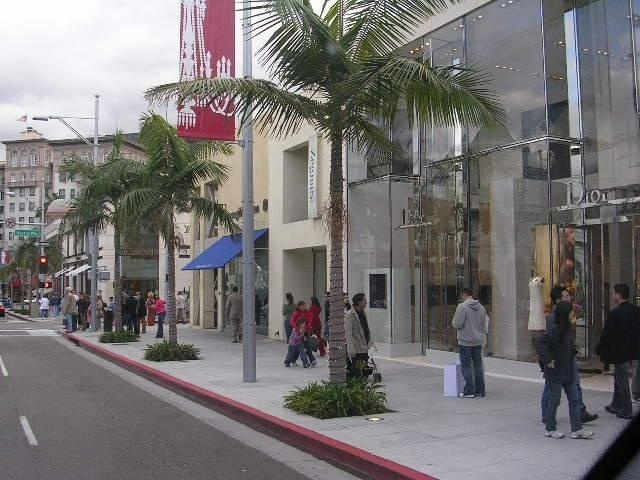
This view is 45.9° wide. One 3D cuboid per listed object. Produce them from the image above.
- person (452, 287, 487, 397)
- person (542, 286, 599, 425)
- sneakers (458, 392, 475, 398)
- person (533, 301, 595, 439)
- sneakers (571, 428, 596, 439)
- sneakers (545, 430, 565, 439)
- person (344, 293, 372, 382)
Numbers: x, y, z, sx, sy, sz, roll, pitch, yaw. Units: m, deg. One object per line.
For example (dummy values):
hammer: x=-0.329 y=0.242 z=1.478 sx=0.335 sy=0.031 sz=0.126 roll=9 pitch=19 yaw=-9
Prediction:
person: x=3.265 y=2.211 z=16.298 sx=0.568 sy=2.310 sz=0.857 roll=-6 pitch=-6 yaw=40
person: x=4.267 y=2.331 z=13.644 sx=0.955 sy=2.325 sz=0.625 roll=-4 pitch=11 yaw=15
sneakers: x=3.122 y=3.291 z=15.947 sx=0.340 sy=0.101 sz=0.250 roll=-3 pitch=-5 yaw=11
person: x=4.219 y=2.229 z=12.983 sx=0.793 sy=2.328 sz=0.832 roll=-4 pitch=-5 yaw=25
sneakers: x=4.460 y=3.280 z=12.757 sx=0.353 sy=0.170 sz=0.159 roll=-1 pitch=-1 yaw=4
sneakers: x=3.989 y=3.307 z=12.819 sx=0.287 sy=0.228 sz=0.111 roll=-4 pitch=-3 yaw=19
person: x=0.831 y=2.144 z=16.586 sx=0.496 sy=1.904 sz=1.089 roll=-2 pitch=-5 yaw=8
